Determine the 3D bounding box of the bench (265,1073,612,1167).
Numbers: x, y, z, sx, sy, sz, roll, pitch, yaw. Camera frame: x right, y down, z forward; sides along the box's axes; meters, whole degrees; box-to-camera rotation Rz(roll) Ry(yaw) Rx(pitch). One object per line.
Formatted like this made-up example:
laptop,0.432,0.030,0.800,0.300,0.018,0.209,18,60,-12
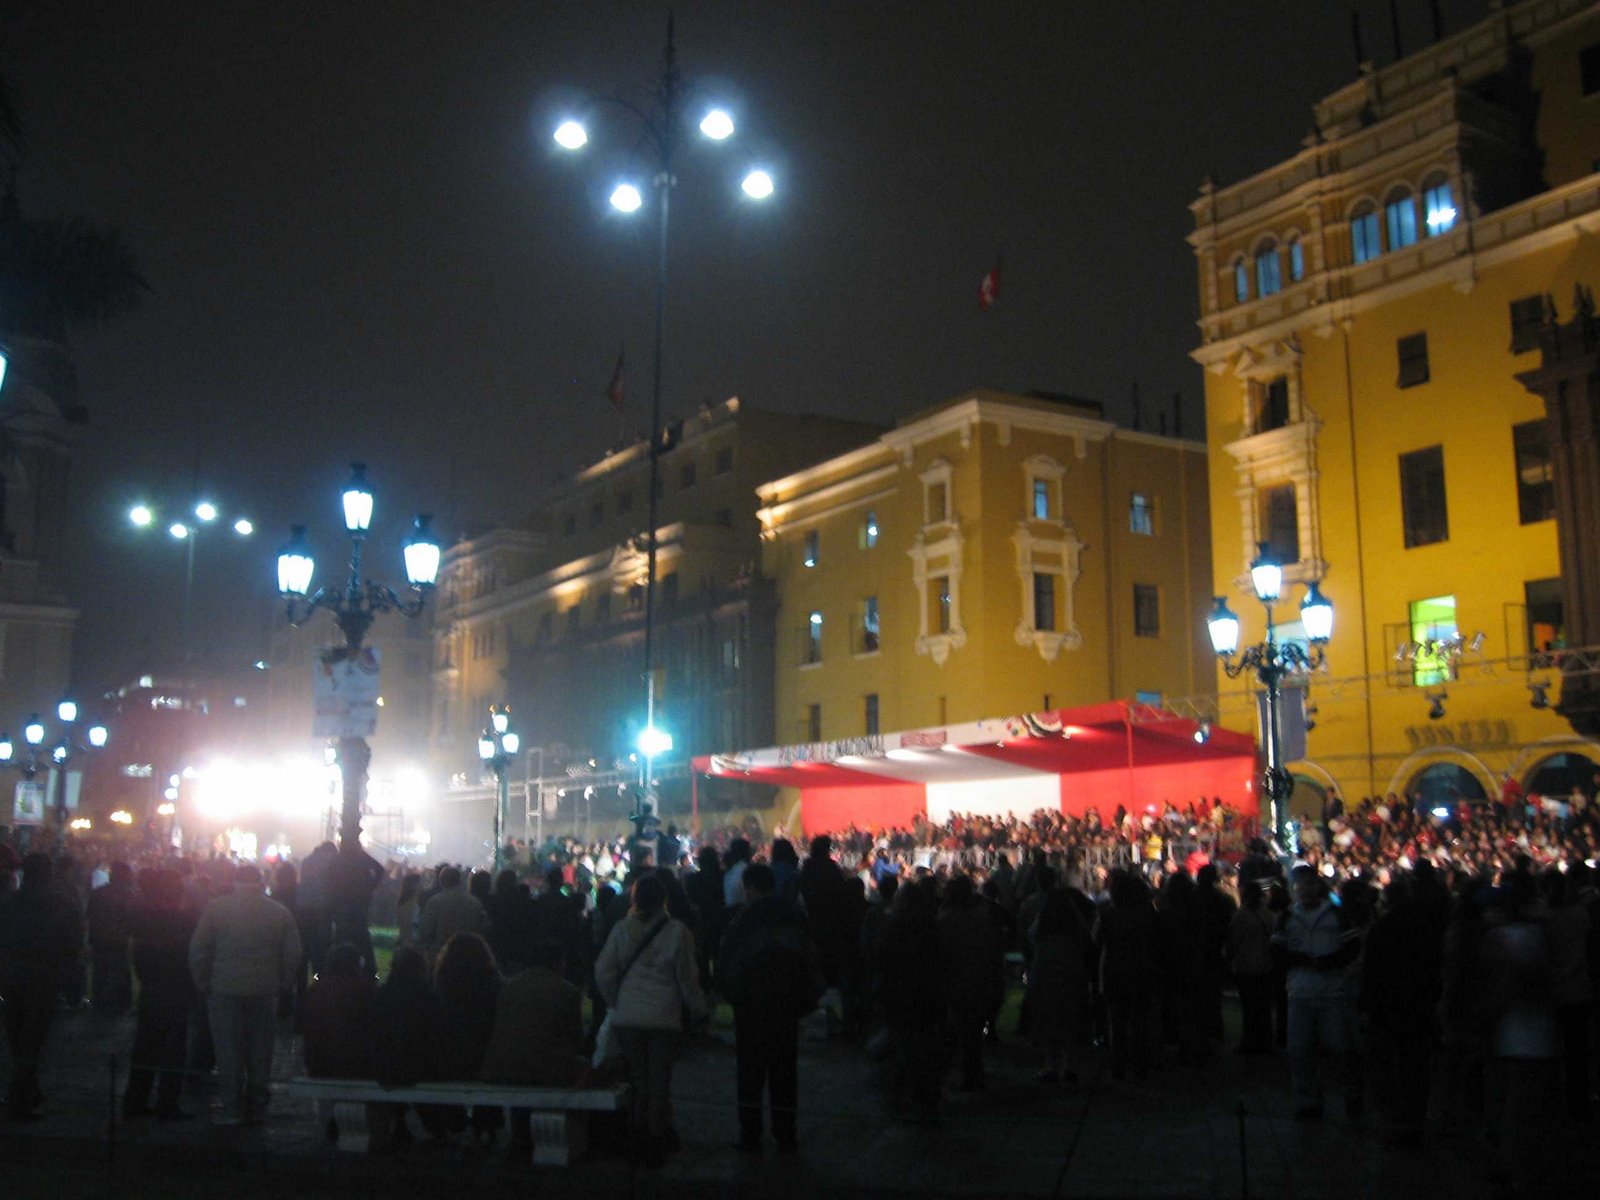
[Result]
bench,-3.421,5.121,16.162,3.190,0.756,0.665,1,1,3
